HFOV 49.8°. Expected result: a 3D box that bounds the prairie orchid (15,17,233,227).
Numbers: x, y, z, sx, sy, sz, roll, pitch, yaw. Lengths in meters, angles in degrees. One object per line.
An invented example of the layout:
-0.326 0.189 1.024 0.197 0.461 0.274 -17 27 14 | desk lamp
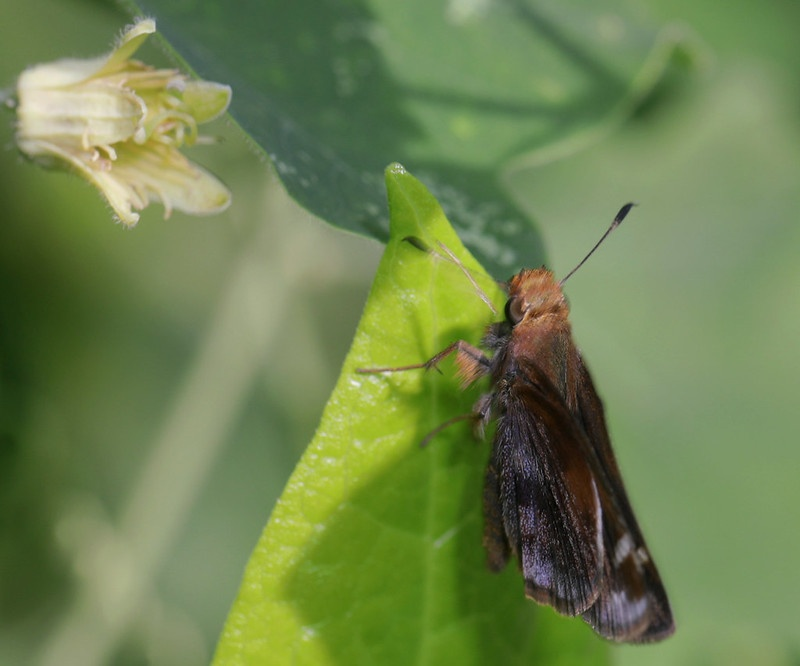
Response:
-0.374 -0.280 1.223 0.274 0.240 0.139 10 -15 -3 | prairie orchid
